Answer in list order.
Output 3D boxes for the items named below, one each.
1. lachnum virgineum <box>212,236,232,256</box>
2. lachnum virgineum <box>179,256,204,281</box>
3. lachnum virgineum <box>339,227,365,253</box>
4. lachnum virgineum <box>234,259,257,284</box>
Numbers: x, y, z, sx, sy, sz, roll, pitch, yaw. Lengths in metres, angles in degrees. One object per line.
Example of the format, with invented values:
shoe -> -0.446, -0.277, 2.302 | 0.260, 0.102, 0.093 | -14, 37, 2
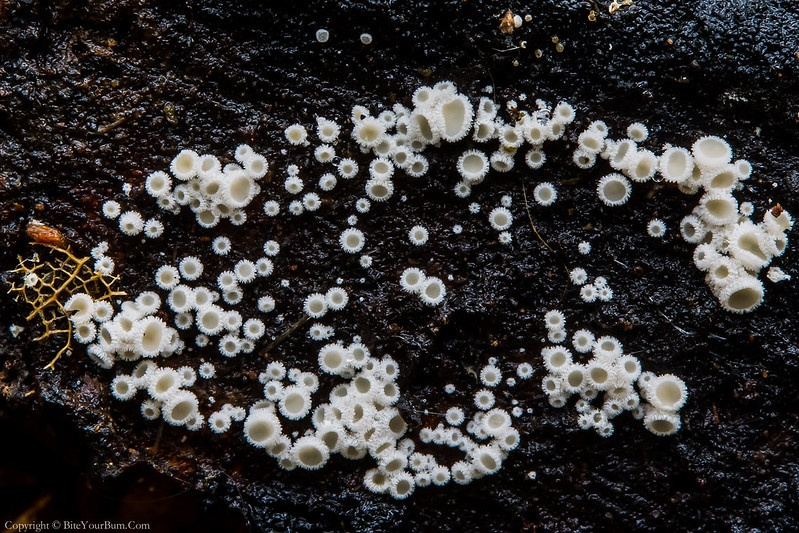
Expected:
lachnum virgineum -> -1.800, -0.214, 10.065 | 0.182, 0.050, 0.188 | -3, 79, -1
lachnum virgineum -> -2.110, 0.008, 10.018 | 0.228, 0.086, 0.217 | -5, 88, -2
lachnum virgineum -> -0.474, -0.271, 10.077 | 0.249, 0.079, 0.248 | -40, 82, -7
lachnum virgineum -> -1.563, 0.041, 10.055 | 0.220, 0.073, 0.220 | 2, 79, 0
